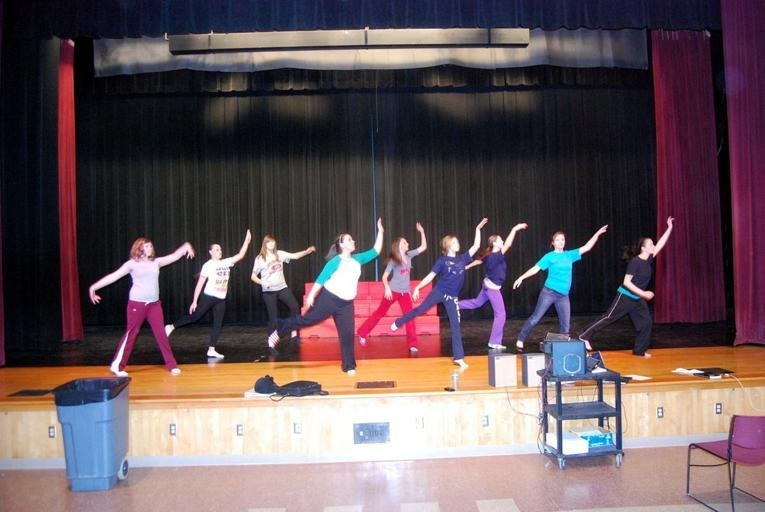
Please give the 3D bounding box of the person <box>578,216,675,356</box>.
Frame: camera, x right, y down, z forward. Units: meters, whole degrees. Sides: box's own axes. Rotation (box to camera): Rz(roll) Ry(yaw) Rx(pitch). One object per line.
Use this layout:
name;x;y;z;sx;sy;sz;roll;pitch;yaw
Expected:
person;3.662;0.632;10.690;0.923;1.753;0.769;-7;-7;33

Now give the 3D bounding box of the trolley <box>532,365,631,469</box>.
trolley;2.507;2.044;9.028;1.210;1.434;0.960;1;-8;0

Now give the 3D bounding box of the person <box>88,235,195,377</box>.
person;-3.392;0.707;10.120;1.186;1.990;0.654;-3;-6;4

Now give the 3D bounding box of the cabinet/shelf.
cabinet/shelf;2.525;2.012;9.022;1.225;1.495;0.966;0;-6;-4

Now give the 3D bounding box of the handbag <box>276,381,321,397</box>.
handbag;-1.088;1.731;9.271;0.603;0.185;0.308;-2;-6;-11

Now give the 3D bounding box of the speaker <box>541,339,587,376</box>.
speaker;2.326;1.286;9.159;0.453;0.376;0.453;-2;0;-5

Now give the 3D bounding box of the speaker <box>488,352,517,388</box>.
speaker;1.521;1.479;9.384;0.488;0.527;0.380;0;-3;-8

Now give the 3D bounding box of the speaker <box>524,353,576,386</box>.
speaker;2.150;1.448;9.282;0.449;0.644;0.343;0;-4;-4

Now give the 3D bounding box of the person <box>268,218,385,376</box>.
person;-0.783;0.678;10.202;1.523;2.029;1.146;-2;-6;-10
